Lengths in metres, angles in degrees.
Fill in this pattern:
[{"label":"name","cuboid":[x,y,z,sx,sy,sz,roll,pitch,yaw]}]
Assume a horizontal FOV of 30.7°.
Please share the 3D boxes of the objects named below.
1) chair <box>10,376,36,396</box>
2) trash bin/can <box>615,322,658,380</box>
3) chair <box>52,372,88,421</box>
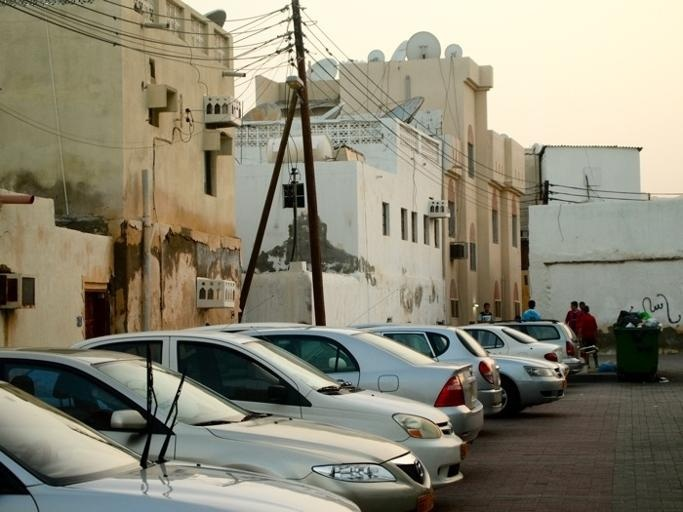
[{"label":"chair","cuboid":[-3.868,1.582,15.286,0.220,0.307,0.295,6,-1,-39]},{"label":"trash bin/can","cuboid":[7.589,2.561,32.052,0.852,1.027,1.449,0,-1,7]},{"label":"chair","cuboid":[-3.341,1.737,15.565,0.450,0.560,0.557,4,19,-10]}]
